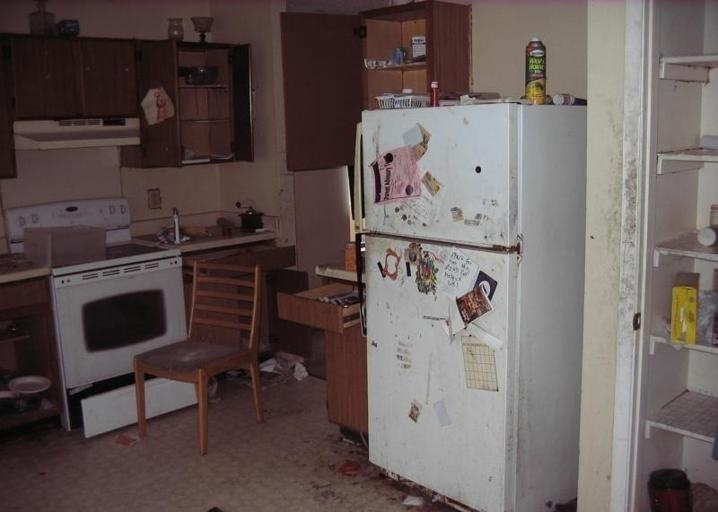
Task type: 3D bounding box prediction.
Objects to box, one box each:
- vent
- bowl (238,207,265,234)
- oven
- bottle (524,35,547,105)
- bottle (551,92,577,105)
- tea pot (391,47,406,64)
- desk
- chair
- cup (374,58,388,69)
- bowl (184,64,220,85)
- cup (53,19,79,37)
[{"bbox_3d":[-2.025,-0.891,4.224,0.831,0.190,0.094,-9,13,-30],"label":"vent"},{"bbox_3d":[-0.891,-0.327,4.925,0.191,0.274,0.206,1,17,0],"label":"bowl"},{"bbox_3d":[-1.750,0.556,4.302,0.949,1.149,0.875,-8,9,-18],"label":"oven"},{"bbox_3d":[0.807,-0.846,2.668,0.088,0.301,0.166,1,12,16],"label":"bottle"},{"bbox_3d":[0.969,-0.748,2.773,0.103,0.053,0.200,4,13,26],"label":"bottle"},{"bbox_3d":[0.290,-1.528,4.448,0.147,0.150,0.086,12,14,37],"label":"tea pot"},{"bbox_3d":[-0.311,0.615,3.556,0.568,0.914,0.553,9,-4,-28],"label":"desk"},{"bbox_3d":[-1.028,0.621,3.791,0.586,1.065,0.654,4,7,29],"label":"chair"},{"bbox_3d":[0.179,-1.508,4.564,0.087,0.069,0.153,-2,12,2],"label":"cup"},{"bbox_3d":[-1.250,-1.429,4.643,0.219,0.155,0.214,-2,7,0],"label":"bowl"},{"bbox_3d":[-2.100,-1.622,4.149,0.164,0.108,0.105,-2,11,-1],"label":"cup"}]
